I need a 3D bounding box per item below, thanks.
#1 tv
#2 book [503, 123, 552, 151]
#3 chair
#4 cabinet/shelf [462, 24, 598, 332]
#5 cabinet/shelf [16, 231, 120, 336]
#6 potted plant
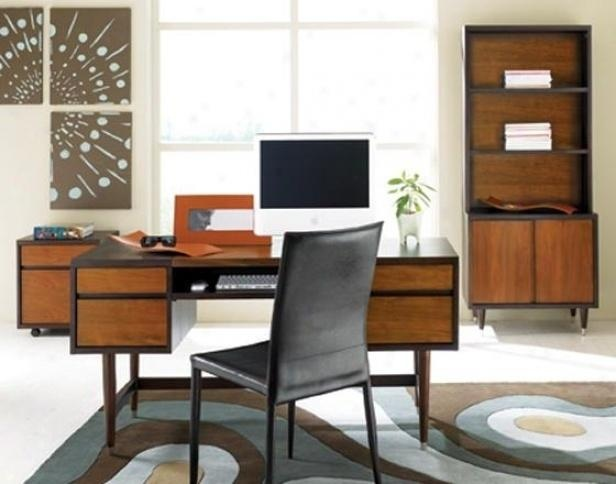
[{"bbox_3d":[0.039,-0.302,3.146,0.496,0.440,0.176,-1,6,-1],"label":"tv"},{"bbox_3d":[1.609,-0.764,4.627,0.250,0.086,0.256,0,-1,4],"label":"book"},{"bbox_3d":[-0.089,0.496,2.697,0.763,1.171,0.522,-7,14,-26],"label":"chair"},{"bbox_3d":[1.621,-0.473,4.623,0.899,2.106,0.540,-1,10,10],"label":"cabinet/shelf"},{"bbox_3d":[-1.873,0.301,4.949,0.636,0.887,0.910,0,3,2],"label":"cabinet/shelf"},{"bbox_3d":[0.542,-0.152,3.308,0.257,0.326,0.228,2,-11,-8],"label":"potted plant"}]
